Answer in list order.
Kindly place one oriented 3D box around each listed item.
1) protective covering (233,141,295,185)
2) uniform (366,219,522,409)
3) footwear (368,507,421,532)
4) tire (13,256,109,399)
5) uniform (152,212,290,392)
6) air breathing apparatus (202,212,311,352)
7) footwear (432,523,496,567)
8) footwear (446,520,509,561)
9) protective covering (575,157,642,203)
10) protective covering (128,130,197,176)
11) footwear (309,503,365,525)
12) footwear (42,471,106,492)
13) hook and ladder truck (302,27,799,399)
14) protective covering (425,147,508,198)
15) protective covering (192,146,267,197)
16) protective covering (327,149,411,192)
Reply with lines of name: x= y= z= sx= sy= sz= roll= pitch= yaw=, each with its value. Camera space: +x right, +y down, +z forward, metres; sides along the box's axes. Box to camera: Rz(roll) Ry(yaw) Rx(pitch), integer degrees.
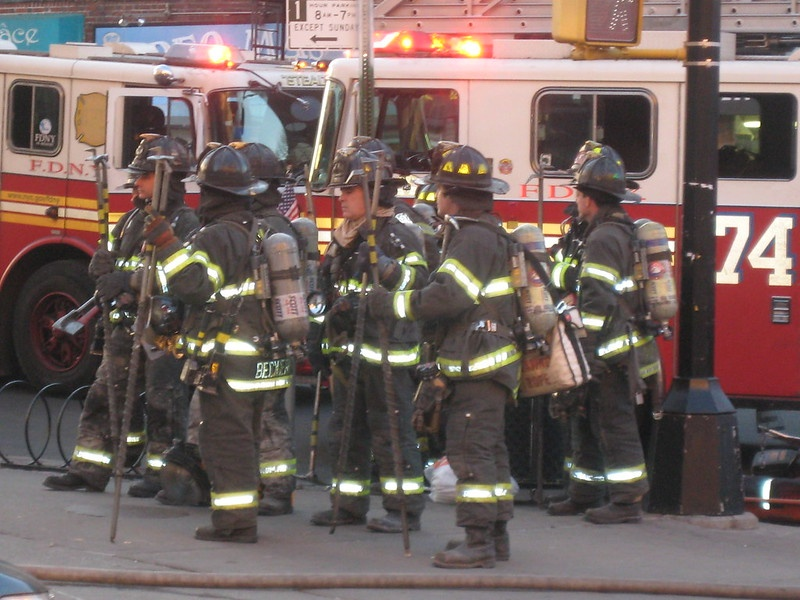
protective covering: x=-1.088 y=-1.091 z=12.160 sx=0.436 sy=0.208 sz=0.307 roll=3 pitch=20 yaw=-7
uniform: x=0.277 y=0.258 z=11.372 sx=1.195 sy=1.647 sz=1.172 roll=-2 pitch=1 yaw=0
footwear: x=-0.032 y=1.694 z=11.692 sx=0.396 sy=0.156 sz=0.170 roll=4 pitch=-8 yaw=-16
tire: x=-3.298 y=0.272 z=14.889 sx=1.541 sy=1.521 sz=0.543 roll=4 pitch=7 yaw=31
uniform: x=-1.284 y=0.001 z=11.644 sx=1.037 sy=1.196 sz=1.195 roll=4 pitch=2 yaw=19
air breathing apparatus: x=-1.323 y=-0.131 z=11.489 sx=0.820 sy=0.976 sz=1.056 roll=-10 pitch=-15 yaw=36
footwear: x=0.490 y=1.778 z=10.829 sx=0.550 sy=0.330 sz=0.213 roll=2 pitch=-4 yaw=-3
footwear: x=0.466 y=1.779 z=11.037 sx=0.495 sy=0.319 sz=0.176 roll=6 pitch=-16 yaw=-41
protective covering: x=1.674 y=-1.012 z=12.104 sx=0.599 sy=0.302 sz=0.451 roll=16 pitch=24 yaw=34
protective covering: x=-1.934 y=-1.198 z=12.400 sx=0.548 sy=0.227 sz=0.386 roll=2 pitch=2 yaw=-14
footwear: x=-0.490 y=1.667 z=11.807 sx=0.447 sy=0.163 sz=0.155 roll=5 pitch=-6 yaw=-10
footwear: x=-2.662 y=1.481 z=12.491 sx=0.508 sy=0.201 sz=0.174 roll=10 pitch=-4 yaw=-11
hook and ladder truck: x=1.405 y=-0.890 z=15.322 sx=4.905 sy=2.414 sz=2.900 roll=1 pitch=2 yaw=6
protective covering: x=0.460 y=-1.004 z=11.320 sx=0.750 sy=0.288 sz=0.619 roll=6 pitch=21 yaw=-9
protective covering: x=-1.332 y=-1.011 z=11.492 sx=0.559 sy=0.326 sz=0.741 roll=-7 pitch=17 yaw=-39
protective covering: x=-0.239 y=-1.052 z=11.764 sx=0.667 sy=0.264 sz=0.458 roll=-5 pitch=15 yaw=-32
